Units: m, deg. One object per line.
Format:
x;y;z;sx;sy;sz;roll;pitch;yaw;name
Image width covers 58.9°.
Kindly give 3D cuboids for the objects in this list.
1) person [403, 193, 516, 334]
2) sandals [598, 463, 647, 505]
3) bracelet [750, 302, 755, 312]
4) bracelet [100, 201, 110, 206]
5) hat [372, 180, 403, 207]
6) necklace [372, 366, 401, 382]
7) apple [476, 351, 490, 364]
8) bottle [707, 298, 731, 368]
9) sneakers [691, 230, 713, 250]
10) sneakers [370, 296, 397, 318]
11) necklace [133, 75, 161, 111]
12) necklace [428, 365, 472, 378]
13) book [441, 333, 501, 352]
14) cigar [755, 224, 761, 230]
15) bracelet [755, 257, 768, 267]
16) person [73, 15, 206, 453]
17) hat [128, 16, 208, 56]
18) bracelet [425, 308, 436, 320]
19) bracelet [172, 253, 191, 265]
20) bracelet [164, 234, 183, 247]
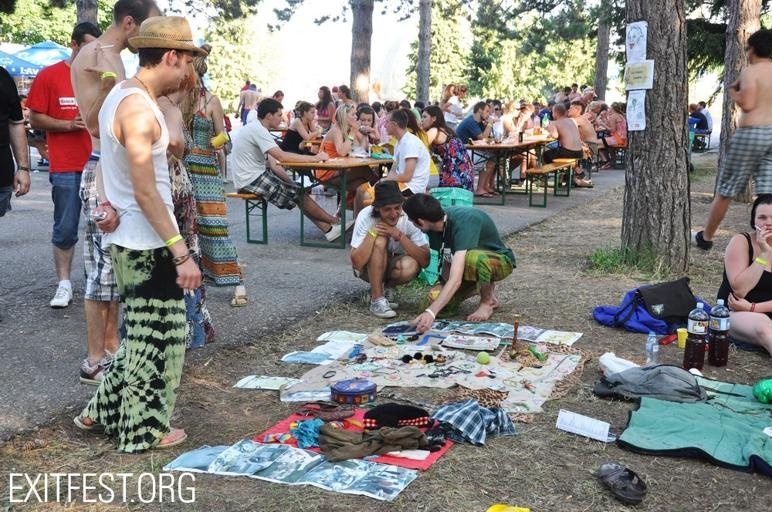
0.629;0.022;6.622;1.233;1.249;0.609;-11;16;-42;person
1.510;1.453;4.429;0.183;0.088;0.262;-8;21;-17;sandals
3.271;0.472;6.131;0.022;0.054;0.042;3;-2;2;bracelet
-1.884;-0.348;4.614;0.045;0.022;0.053;0;5;1;bracelet
-0.009;-0.615;6.742;0.274;0.128;0.263;-7;12;-18;hat
0.021;0.976;5.620;0.217;0.038;0.201;1;11;6;necklace
0.829;0.857;5.816;0.102;0.094;0.167;3;12;16;apple
2.847;0.657;5.865;0.170;0.544;0.218;5;14;24;bottle
3.709;-0.184;8.062;0.154;0.142;0.360;0;17;11;sneakers
-0.027;0.523;6.904;0.246;0.184;0.275;-2;12;-7;sneakers
-1.577;-1.077;4.448;0.167;0.180;0.098;2;13;11;necklace
0.513;0.958;5.655;0.351;0.034;0.148;-3;12;-14;necklace
0.773;0.781;6.214;0.512;0.060;0.358;3;12;14;book
3.303;-0.254;6.101;0.056;0.051;0.017;0;8;43;cigar
3.327;0.049;6.080;0.109;0.072;0.049;2;12;11;bracelet
-1.635;0.121;4.599;0.800;2.430;0.390;-2;13;-7;person
-1.449;-1.443;4.509;0.452;0.248;0.241;-3;12;-16;hat
0.434;0.532;6.265;0.029;0.098;0.102;-38;13;-8;bracelet
-1.341;0.020;4.481;0.077;0.045;0.080;-7;-5;3;bracelet
-1.381;-0.098;4.481;0.089;0.023;0.087;-22;-1;3;bracelet
